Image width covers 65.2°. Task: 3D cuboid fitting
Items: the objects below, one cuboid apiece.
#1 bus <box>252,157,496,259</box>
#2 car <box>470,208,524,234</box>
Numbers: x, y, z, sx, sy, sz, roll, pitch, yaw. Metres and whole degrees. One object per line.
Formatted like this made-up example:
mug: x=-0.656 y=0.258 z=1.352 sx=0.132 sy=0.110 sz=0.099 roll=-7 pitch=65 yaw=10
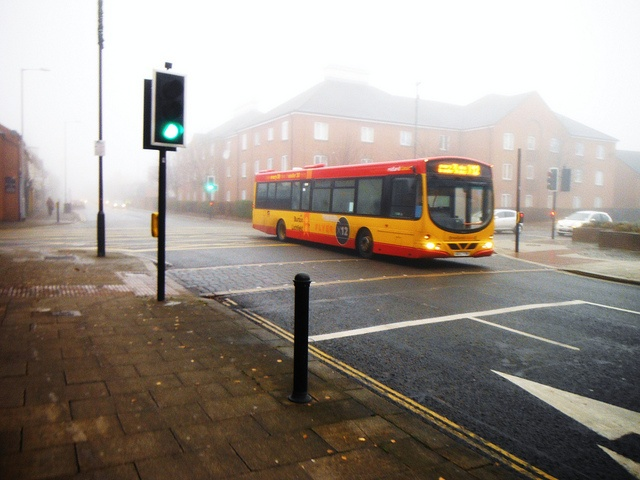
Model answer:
bus: x=0.807 y=-1.037 z=18.257 sx=3.092 sy=3.314 sz=11.337 roll=-2 pitch=3 yaw=-25
car: x=7.645 y=-0.822 z=21.348 sx=2.098 sy=1.191 sz=1.367 roll=2 pitch=-1 yaw=-23
